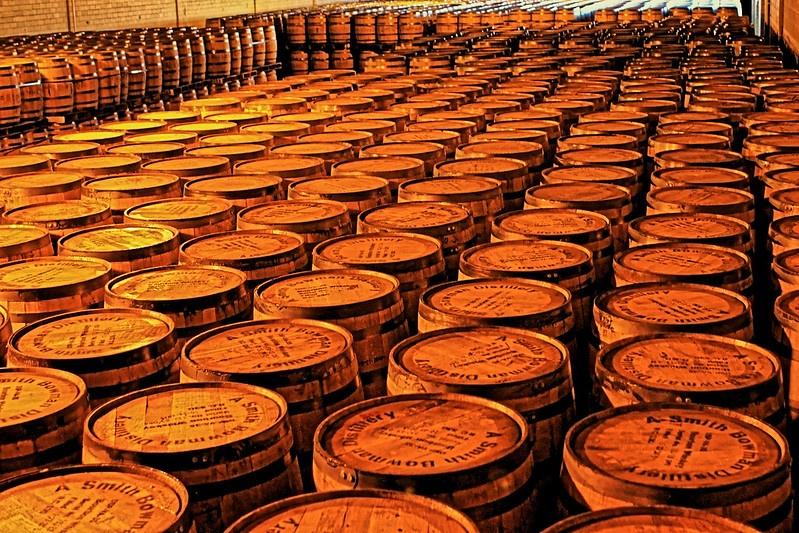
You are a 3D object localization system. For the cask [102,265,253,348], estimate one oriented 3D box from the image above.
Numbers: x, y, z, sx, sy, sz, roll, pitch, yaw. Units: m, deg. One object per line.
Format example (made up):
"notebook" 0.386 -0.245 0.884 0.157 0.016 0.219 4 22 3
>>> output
"cask" -1.237 0.139 4.769 0.700 0.481 0.577 2 18 -2

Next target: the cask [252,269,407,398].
"cask" -0.359 0.263 4.667 0.904 0.637 0.760 -9 20 -14

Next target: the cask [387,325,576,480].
"cask" 0.422 0.611 4.140 0.886 0.612 0.743 -2 16 5

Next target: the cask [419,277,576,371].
"cask" 0.567 0.313 4.547 0.676 0.503 0.577 2 30 18

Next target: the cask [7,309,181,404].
"cask" -1.555 0.396 4.300 0.727 0.506 0.599 1 17 -2

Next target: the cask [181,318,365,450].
"cask" -0.623 0.486 4.183 0.828 0.583 0.692 -5 17 4
